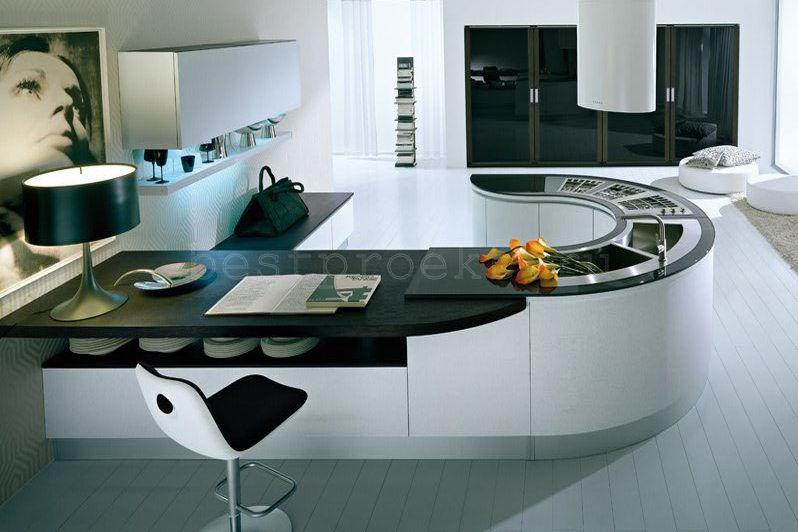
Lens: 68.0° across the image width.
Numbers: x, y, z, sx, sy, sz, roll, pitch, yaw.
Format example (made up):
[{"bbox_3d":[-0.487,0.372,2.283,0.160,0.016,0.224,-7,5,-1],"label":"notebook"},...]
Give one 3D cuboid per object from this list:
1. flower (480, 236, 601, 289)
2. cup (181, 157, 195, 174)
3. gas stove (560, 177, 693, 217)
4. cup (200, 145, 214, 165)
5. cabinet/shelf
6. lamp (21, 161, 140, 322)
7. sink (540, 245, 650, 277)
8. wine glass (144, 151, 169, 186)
[{"bbox_3d":[0.807,0.000,3.360,0.406,0.132,0.386,-4,6,-20],"label":"flower"},{"bbox_3d":[-1.491,-0.715,4.177,0.112,0.115,0.107,1,6,0],"label":"cup"},{"bbox_3d":[2.091,-0.635,5.422,0.444,0.105,0.852,-22,32,-34],"label":"gas stove"},{"bbox_3d":[-1.492,-0.868,4.598,0.124,0.151,0.121,3,26,-1],"label":"cup"},{"bbox_3d":[-1.346,-1.334,4.475,0.394,0.728,1.775,4,19,19],"label":"cabinet/shelf"},{"bbox_3d":[-1.690,-0.113,3.163,0.495,0.720,0.484,-11,18,-35],"label":"lamp"},{"bbox_3d":[1.277,-0.042,3.697,0.362,0.084,0.323,-6,14,-9],"label":"sink"},{"bbox_3d":[-1.652,-0.691,4.015,0.144,0.216,0.380,-9,19,-21],"label":"wine glass"}]
